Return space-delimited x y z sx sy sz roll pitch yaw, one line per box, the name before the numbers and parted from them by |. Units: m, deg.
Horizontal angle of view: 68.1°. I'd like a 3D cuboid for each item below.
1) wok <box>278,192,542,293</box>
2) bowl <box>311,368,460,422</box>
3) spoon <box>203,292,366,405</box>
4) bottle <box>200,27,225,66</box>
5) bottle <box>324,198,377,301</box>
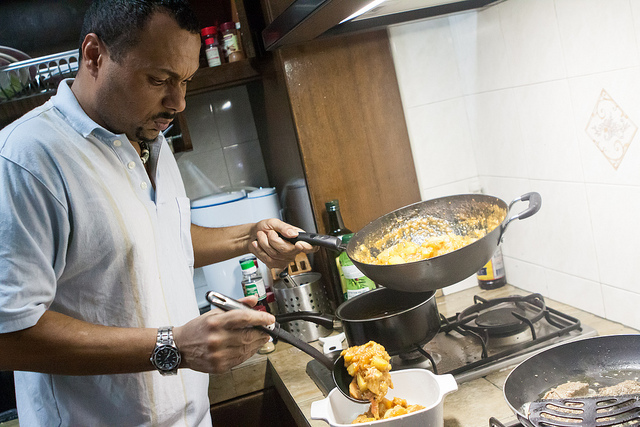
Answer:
wok | 0.256 0.104 1.210 0.583 0.252 0.361 -10 6 -10
bowl | 0.144 0.433 1.065 0.271 0.086 0.154 -8 3 -9
spoon | -0.095 0.385 1.329 0.157 0.687 0.097 -42 26 32
bottle | -0.409 -0.631 1.810 0.070 0.147 0.068 -1 35 1
bottle | 0.110 0.134 1.634 0.108 0.372 0.102 -21 9 3
